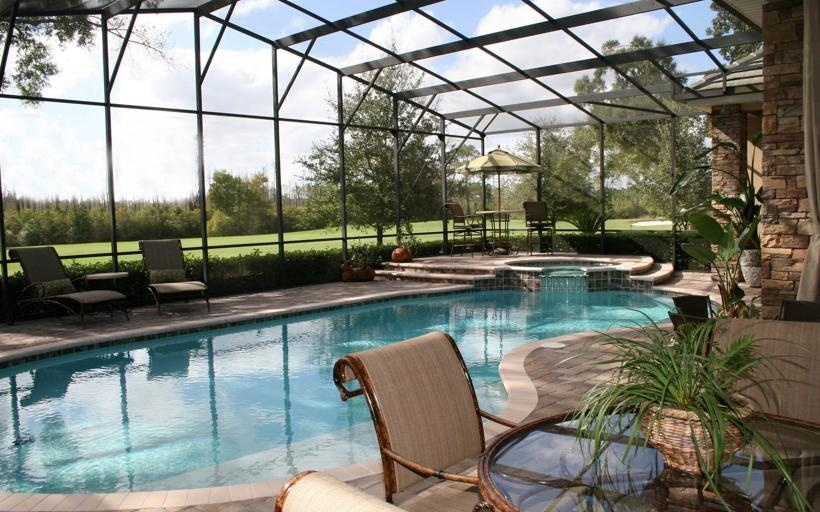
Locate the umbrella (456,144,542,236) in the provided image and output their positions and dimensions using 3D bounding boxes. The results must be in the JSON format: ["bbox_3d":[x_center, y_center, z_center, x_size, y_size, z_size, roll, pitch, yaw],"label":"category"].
[{"bbox_3d":[2.882,-1.906,15.144,2.504,2.202,2.451,4,9,41],"label":"umbrella"}]

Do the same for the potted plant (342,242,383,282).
[{"bbox_3d":[-1.203,0.154,13.534,0.737,0.810,1.301,4,11,15],"label":"potted plant"}]
